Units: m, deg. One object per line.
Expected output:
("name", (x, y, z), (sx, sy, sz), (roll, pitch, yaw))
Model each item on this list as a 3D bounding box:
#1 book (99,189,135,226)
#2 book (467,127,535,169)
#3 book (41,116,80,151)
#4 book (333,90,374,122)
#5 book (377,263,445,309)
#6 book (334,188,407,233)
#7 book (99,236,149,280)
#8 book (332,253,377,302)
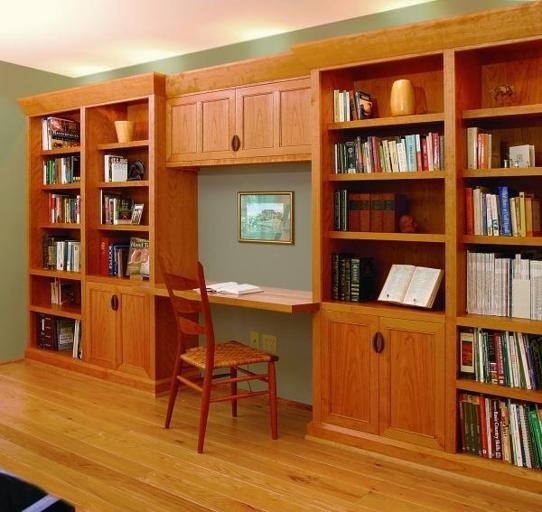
("book", (-1.330, -0.391, 4.068), (0.284, 0.401, 0.288), (1, 0, 32))
("book", (1.157, -0.536, 2.403), (0.303, 0.237, 0.287), (1, 3, 34))
("book", (-1.944, -1.122, 4.372), (0.204, 0.356, 0.365), (4, 5, 41))
("book", (0.483, -0.831, 2.835), (0.180, 0.247, 0.248), (4, 7, 38))
("book", (0.772, 0.170, 2.660), (0.395, 0.230, 0.196), (2, 3, 45))
("book", (0.542, -0.256, 2.754), (0.290, 0.198, 0.287), (4, 5, 36))
("book", (-1.217, 0.034, 3.962), (0.354, 0.388, 0.087), (2, 6, 15))
("book", (0.522, 0.136, 2.955), (0.330, 0.337, 0.244), (0, 0, -44))
